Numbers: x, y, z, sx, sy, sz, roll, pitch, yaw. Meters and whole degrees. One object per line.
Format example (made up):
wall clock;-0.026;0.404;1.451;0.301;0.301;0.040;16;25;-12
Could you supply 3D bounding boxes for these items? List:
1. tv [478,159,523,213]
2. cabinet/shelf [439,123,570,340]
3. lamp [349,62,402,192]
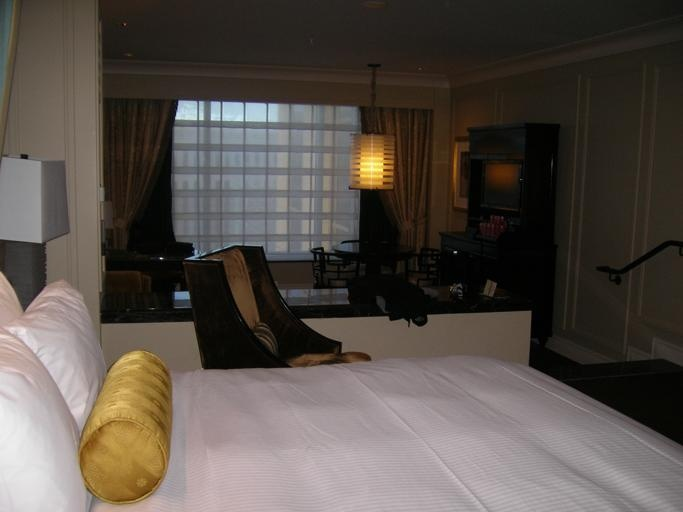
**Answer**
tv;1.795;-0.774;6.176;0.119;0.561;0.477;-1;4;-30
cabinet/shelf;1.776;-0.364;6.449;0.584;2.238;1.708;-1;9;-10
lamp;0.401;-1.548;6.578;0.477;1.526;1.283;1;9;5
